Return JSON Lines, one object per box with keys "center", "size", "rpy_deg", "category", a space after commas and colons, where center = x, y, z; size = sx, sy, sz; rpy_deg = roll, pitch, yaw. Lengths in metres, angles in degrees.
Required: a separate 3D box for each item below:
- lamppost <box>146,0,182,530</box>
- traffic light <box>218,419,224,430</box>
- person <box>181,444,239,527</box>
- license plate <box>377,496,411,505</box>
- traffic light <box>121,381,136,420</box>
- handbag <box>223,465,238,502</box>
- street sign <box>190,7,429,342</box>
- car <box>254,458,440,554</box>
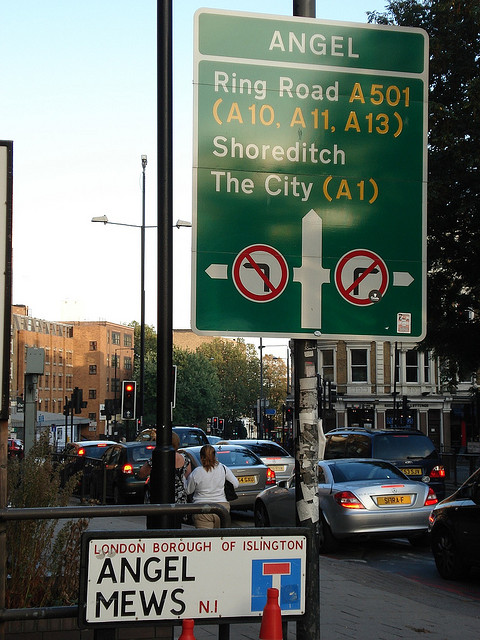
{"center": [-0.413, -0.415, 5.360], "size": [0.130, 2.830, 0.348], "rpy_deg": [1, -3, -5], "category": "lamppost"}
{"center": [-1.191, 6.545, 60.187], "size": [0.303, 0.588, 1.009], "rpy_deg": [1, -4, -9], "category": "traffic light"}
{"center": [-0.272, 1.728, 9.808], "size": [0.556, 0.754, 1.195], "rpy_deg": [0, -3, -10], "category": "person"}
{"center": [1.955, 2.275, 12.148], "size": [0.507, 0.096, 0.065], "rpy_deg": [4, -5, -30], "category": "license plate"}
{"center": [-2.835, 2.050, 24.613], "size": [0.339, 0.931, 1.643], "rpy_deg": [1, -4, -7], "category": "traffic light"}
{"center": [-0.082, 1.814, 10.315], "size": [0.119, 0.236, 0.171], "rpy_deg": [-2, -5, 39], "category": "handbag"}
{"center": [0.275, -0.599, 4.271], "size": [1.037, 1.921, 0.022], "rpy_deg": [0, -2, -9], "category": "street sign"}
{"center": [1.222, 2.369, 13.313], "size": [1.261, 1.182, 3.059], "rpy_deg": [0, -1, -22], "category": "car"}
